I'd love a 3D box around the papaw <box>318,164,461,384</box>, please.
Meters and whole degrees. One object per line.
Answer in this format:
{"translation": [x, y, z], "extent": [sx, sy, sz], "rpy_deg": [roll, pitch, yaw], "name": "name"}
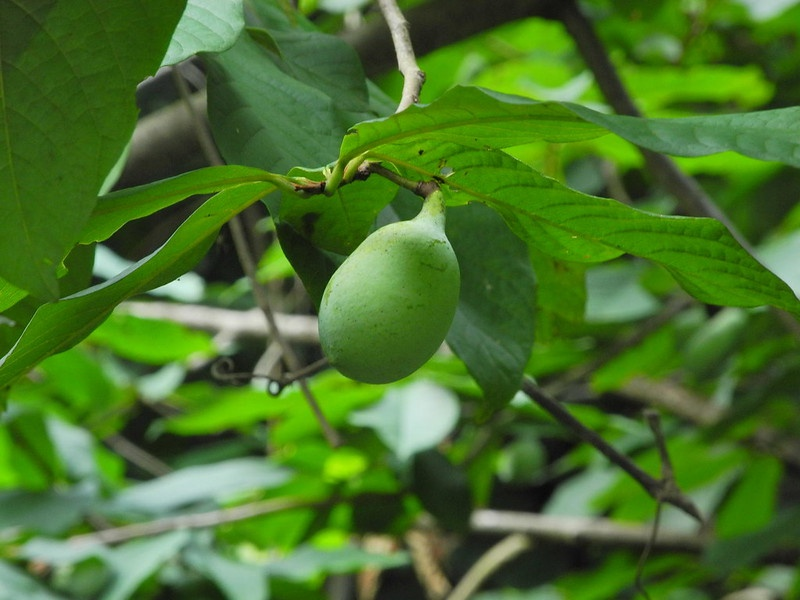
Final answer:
{"translation": [-0.006, 0.002, 0.682], "extent": [0.115, 0.103, 0.064], "rpy_deg": [-31, 28, -33], "name": "papaw"}
